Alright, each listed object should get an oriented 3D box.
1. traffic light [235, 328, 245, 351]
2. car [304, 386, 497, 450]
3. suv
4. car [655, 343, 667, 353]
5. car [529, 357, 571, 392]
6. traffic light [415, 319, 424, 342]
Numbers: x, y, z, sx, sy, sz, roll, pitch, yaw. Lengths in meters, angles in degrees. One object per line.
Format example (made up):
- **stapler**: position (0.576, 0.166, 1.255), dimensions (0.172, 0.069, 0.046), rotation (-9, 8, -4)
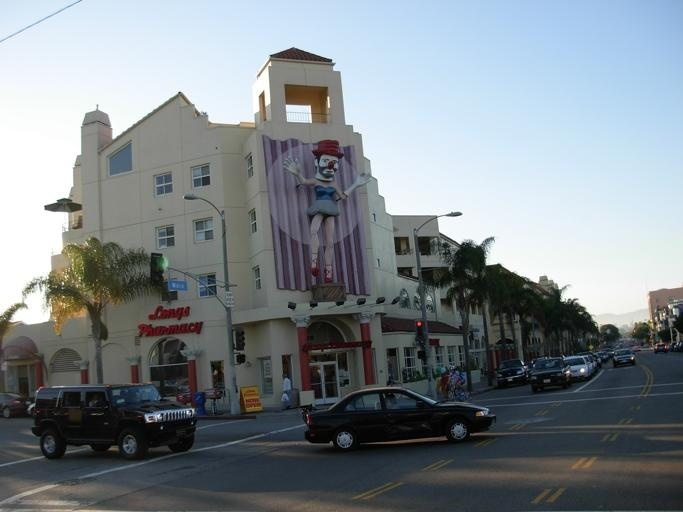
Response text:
- **traffic light**: position (-5.963, 4.862, 34.832), dimensions (0.506, 1.210, 0.607), rotation (0, -11, -18)
- **car**: position (1.721, 5.191, 21.041), dimensions (5.733, 1.948, 2.064), rotation (-1, -5, 1)
- **suv**: position (-7.819, 5.698, 20.940), dimensions (4.833, 2.212, 2.913), rotation (-7, -11, 27)
- **car**: position (58.678, 17.002, 109.974), dimensions (1.448, 1.613, 3.285), rotation (-5, -11, 8)
- **car**: position (13.063, 7.500, 37.673), dimensions (2.017, 2.027, 2.607), rotation (-10, -12, 31)
- **traffic light**: position (4.729, 4.545, 36.092), dimensions (0.435, 1.284, 0.787), rotation (-5, -10, 7)
